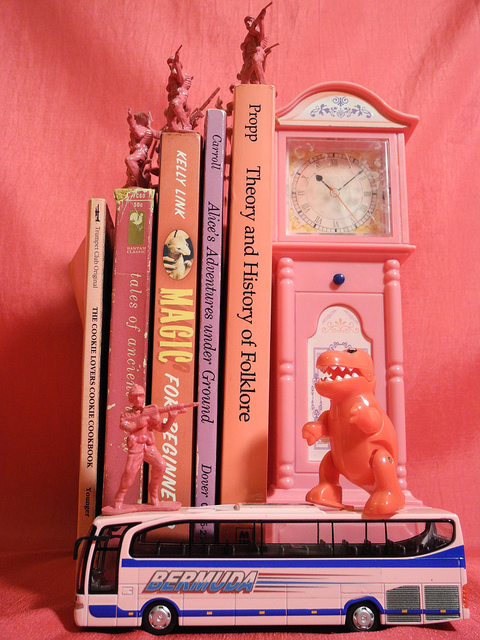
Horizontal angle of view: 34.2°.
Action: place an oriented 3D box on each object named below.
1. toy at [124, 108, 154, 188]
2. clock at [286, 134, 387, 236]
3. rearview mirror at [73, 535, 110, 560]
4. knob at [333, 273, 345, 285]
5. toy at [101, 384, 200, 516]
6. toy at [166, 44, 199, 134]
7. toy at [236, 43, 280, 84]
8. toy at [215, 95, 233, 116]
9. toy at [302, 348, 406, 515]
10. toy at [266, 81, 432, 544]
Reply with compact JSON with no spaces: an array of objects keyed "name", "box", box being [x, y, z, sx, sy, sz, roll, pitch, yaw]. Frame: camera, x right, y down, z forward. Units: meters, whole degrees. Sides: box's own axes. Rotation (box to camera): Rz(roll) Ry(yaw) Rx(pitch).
[{"name":"toy","box":[-0.365,-0.603,2.779,0.103,0.293,0.122,7,15,19]},{"name":"clock","box":[0.338,-0.458,2.725,0.388,0.360,0.028,1,-15,-4]},{"name":"rearview mirror","box":[-0.389,0.581,2.059,0.082,0.023,0.079,15,-35,-21]},{"name":"knob","box":[0.340,-0.139,2.645,0.033,0.037,0.032,1,-3,7]},{"name":"toy","box":[-0.250,0.365,2.216,0.277,0.351,0.101,-1,-4,-6]},{"name":"toy","box":[-0.189,-0.782,2.691,0.103,0.265,0.115,1,8,6]},{"name":"toy","box":[0.053,-0.881,2.721,0.122,0.155,0.149,-4,11,-9]},{"name":"toy","box":[-0.040,-0.739,2.747,0.082,0.080,0.030,18,16,38]},{"name":"toy","box":[0.359,0.325,2.250,0.347,0.460,0.304,13,-16,-34]},{"name":"toy","box":[0.320,-0.018,2.776,0.628,1.518,0.496,1,-8,-12]}]
